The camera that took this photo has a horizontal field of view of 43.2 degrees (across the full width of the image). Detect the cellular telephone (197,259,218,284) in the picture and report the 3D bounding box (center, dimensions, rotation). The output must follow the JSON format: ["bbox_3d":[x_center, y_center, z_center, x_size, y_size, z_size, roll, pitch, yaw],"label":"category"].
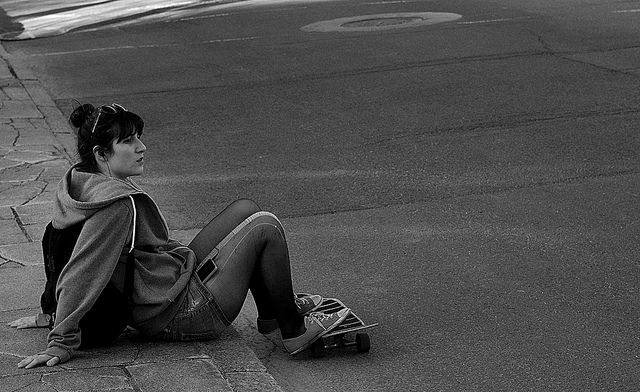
[{"bbox_3d":[-0.977,0.650,6.937,0.133,0.237,0.026,49,14,32],"label":"cellular telephone"}]
